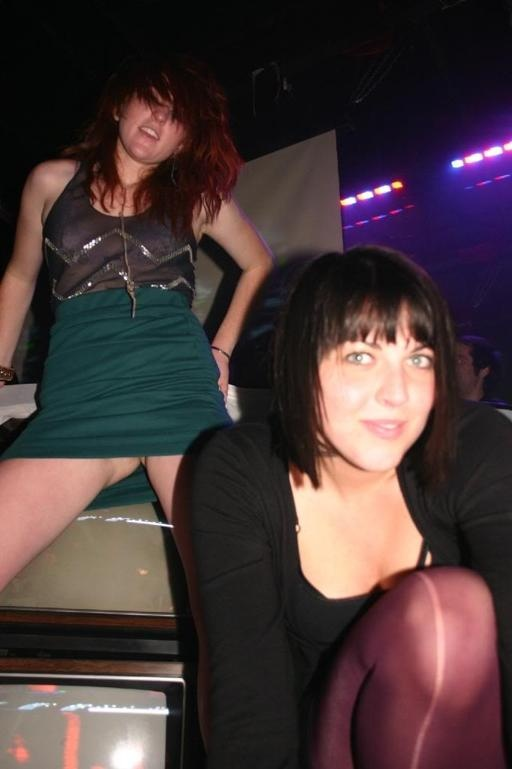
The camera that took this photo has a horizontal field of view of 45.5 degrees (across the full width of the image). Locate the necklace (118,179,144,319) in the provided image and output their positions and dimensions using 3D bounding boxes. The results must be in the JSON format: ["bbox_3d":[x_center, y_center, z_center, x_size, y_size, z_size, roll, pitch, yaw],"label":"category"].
[{"bbox_3d":[-0.283,-0.300,1.381,0.059,0.017,0.347,0,72,-14],"label":"necklace"}]
